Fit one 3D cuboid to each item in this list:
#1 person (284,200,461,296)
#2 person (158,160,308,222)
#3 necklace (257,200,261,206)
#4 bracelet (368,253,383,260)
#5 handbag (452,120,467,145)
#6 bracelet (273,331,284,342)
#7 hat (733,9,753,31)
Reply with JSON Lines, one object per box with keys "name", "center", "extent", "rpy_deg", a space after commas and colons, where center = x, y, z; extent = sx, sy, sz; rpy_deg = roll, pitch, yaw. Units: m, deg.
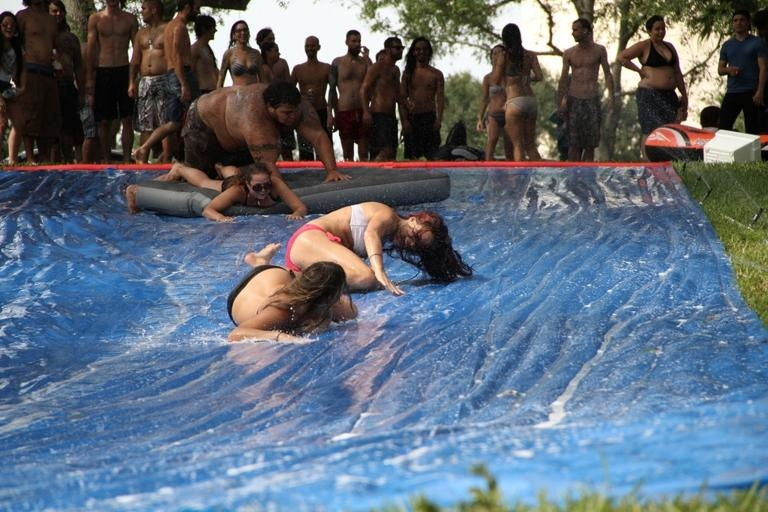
{"name": "person", "center": [-0.051, -0.129, 6.180], "extent": [1.385, 0.502, 1.083], "rpy_deg": [7, 14, 14]}
{"name": "person", "center": [-1.501, -0.642, 7.895], "extent": [1.575, 0.545, 0.730], "rpy_deg": [4, 6, 44]}
{"name": "necklace", "center": [-1.223, -0.527, 7.748], "extent": [0.046, 0.043, 0.010], "rpy_deg": [-2, -19, -23]}
{"name": "bracelet", "center": [-0.064, -0.011, 5.966], "extent": [0.092, 0.034, 0.069], "rpy_deg": [-1, 5, 0]}
{"name": "handbag", "center": [1.129, -1.876, 11.932], "extent": [0.212, 0.401, 0.458], "rpy_deg": [-1, 5, 1]}
{"name": "bracelet", "center": [-0.681, 0.512, 5.118], "extent": [0.046, 0.057, 0.031], "rpy_deg": [-11, -18, -4]}
{"name": "hat", "center": [4.620, -3.048, 10.219], "extent": [0.173, 0.341, 0.474], "rpy_deg": [2, 5, 27]}
